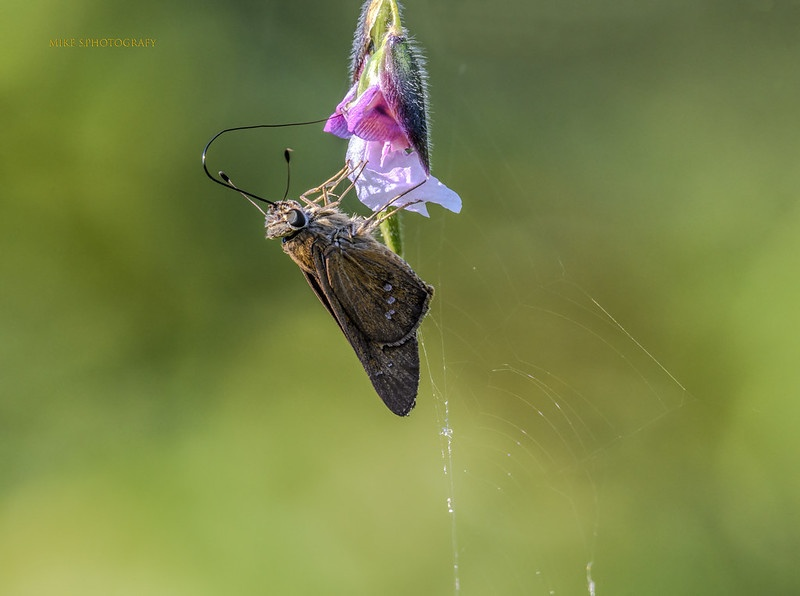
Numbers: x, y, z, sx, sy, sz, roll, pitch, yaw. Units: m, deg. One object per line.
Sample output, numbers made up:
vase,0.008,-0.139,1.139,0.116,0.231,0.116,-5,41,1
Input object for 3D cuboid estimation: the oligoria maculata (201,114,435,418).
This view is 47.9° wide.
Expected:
oligoria maculata,-0.346,-0.168,4.644,1.158,1.169,1.519,9,-78,24

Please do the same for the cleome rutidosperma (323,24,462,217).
cleome rutidosperma,-0.045,-0.816,4.207,0.485,0.660,0.945,15,-66,44
